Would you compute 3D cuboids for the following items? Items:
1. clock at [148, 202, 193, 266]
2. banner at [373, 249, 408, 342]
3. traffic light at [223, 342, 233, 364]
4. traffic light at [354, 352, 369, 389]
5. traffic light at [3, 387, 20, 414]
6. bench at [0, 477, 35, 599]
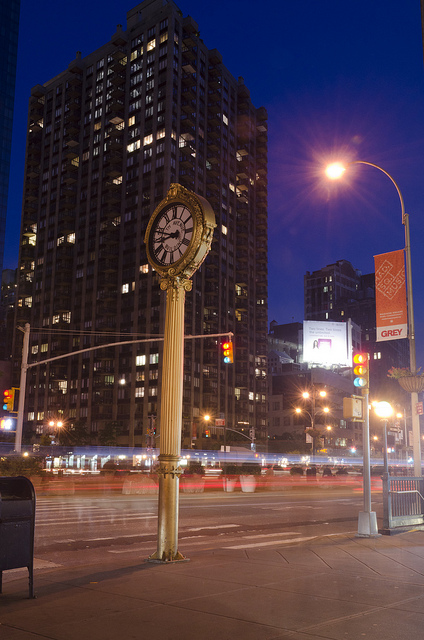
[{"bbox_3d":[-0.713,-1.496,10.532,1.305,1.439,0.093,-10,-15,40],"label":"clock"},{"bbox_3d":[4.401,-0.566,14.515,0.759,2.258,0.863,-4,-13,17],"label":"banner"},{"bbox_3d":[0.633,1.255,22.543,0.364,0.791,0.640,0,-13,1],"label":"traffic light"},{"bbox_3d":[3.580,1.204,14.120,0.308,0.889,0.480,-2,-13,10],"label":"traffic light"},{"bbox_3d":[-8.753,3.445,25.493,0.400,0.940,0.707,5,-14,-21],"label":"traffic light"},{"bbox_3d":[-2.207,2.300,6.675,0.391,0.977,0.762,4,-14,-19],"label":"bench"}]
